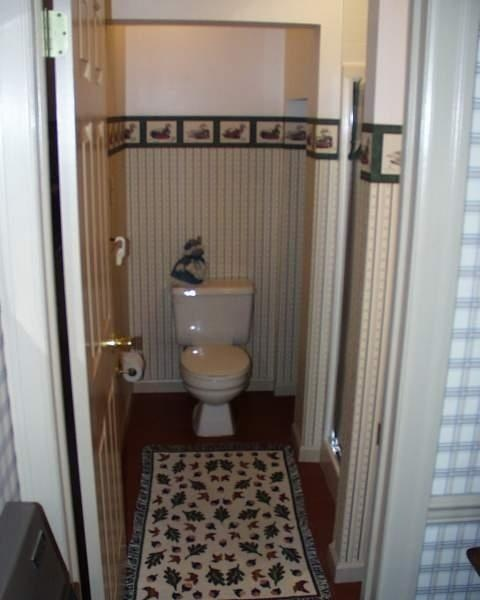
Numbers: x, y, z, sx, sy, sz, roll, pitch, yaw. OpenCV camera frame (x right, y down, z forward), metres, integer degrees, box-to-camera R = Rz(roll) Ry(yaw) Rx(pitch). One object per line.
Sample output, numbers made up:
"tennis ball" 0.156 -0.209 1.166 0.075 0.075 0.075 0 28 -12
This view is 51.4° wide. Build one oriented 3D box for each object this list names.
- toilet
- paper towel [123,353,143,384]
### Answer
"toilet" -0.146 0.331 2.942 0.480 0.823 0.598 -2 13 -10
"paper towel" -0.350 0.223 1.644 0.066 0.125 0.083 -1 -12 -1
